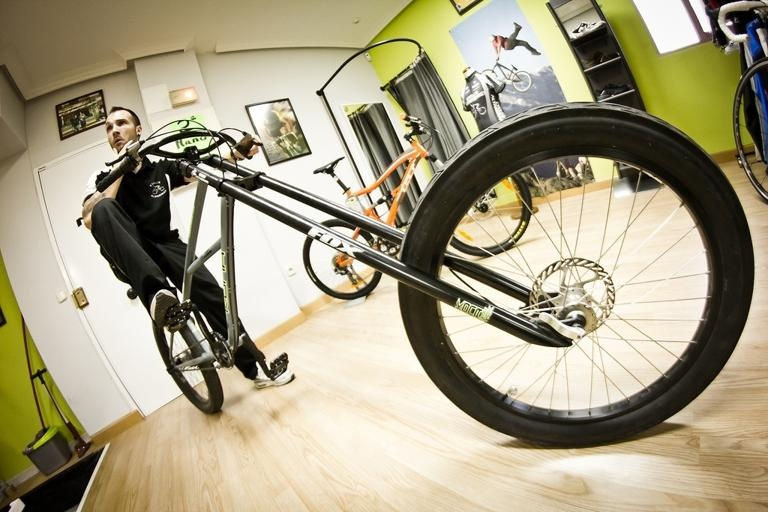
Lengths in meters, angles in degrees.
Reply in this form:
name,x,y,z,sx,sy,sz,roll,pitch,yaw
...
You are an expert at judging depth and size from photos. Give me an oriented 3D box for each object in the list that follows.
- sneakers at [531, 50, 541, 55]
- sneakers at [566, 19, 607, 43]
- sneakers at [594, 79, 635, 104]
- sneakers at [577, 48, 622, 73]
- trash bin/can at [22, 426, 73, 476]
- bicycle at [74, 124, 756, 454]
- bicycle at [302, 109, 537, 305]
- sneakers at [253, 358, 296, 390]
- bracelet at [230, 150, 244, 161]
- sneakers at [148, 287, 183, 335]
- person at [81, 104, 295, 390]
name,x,y,z,sx,sy,sz,roll,pitch,yaw
sneakers,1.711,-2.286,5.447,0.044,0.035,0.113,12,21,-47
sneakers,2.039,-2.272,4.880,0.344,0.133,0.115,1,37,48
sneakers,2.332,-1.664,4.923,0.372,0.145,0.135,-8,31,32
sneakers,2.185,-1.974,4.918,0.381,0.149,0.129,-12,36,36
trash bin/can,-2.952,1.703,4.291,0.314,0.316,0.380,-31,10,-20
bicycle,0.340,0.126,2.948,2.949,1.319,1.434,-19,9,23
bicycle,0.125,-0.448,4.480,2.246,1.368,1.041,-19,5,16
sneakers,-0.824,0.860,3.571,0.365,0.152,0.169,-17,43,16
bracelet,-0.848,-0.586,2.809,0.066,0.063,0.067,-6,19,-27
sneakers,-1.336,0.326,2.981,0.142,0.268,0.124,-27,36,-29
person,-1.773,-0.168,3.925,1.111,1.313,2.155,-40,20,-24
